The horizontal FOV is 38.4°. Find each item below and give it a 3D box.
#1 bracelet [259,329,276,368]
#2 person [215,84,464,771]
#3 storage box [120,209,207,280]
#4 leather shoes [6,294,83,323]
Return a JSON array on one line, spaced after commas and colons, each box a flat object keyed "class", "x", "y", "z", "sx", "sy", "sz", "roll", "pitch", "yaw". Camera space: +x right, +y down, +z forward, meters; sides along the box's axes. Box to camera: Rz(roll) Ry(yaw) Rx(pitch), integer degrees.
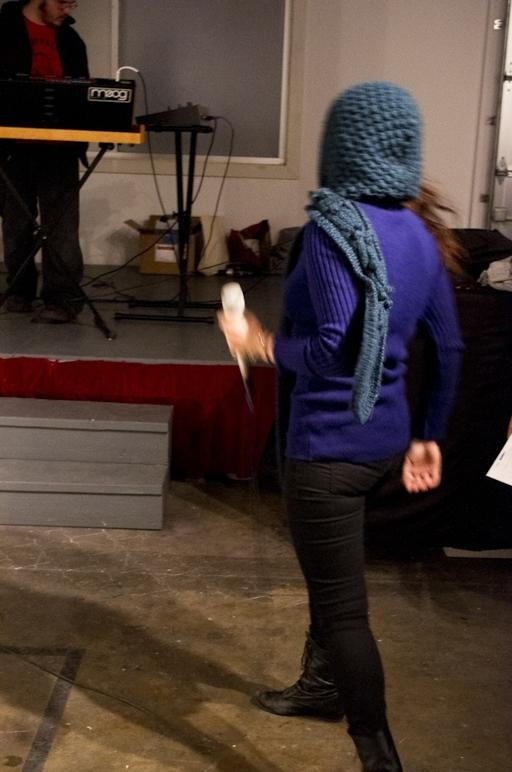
[{"class": "bracelet", "x": 0.022, "y": -0.058, "z": 1.245, "sx": 0.021, "sy": 0.048, "sz": 0.043, "roll": -4, "pitch": 24, "yaw": 9}, {"class": "person", "x": 0.119, "y": 0.069, "z": 1.218, "sx": 0.397, "sy": 1.068, "sz": 0.313, "roll": 6, "pitch": 16, "yaw": 13}, {"class": "storage box", "x": -0.671, "y": -1.008, "z": 5.470, "sx": 0.660, "sy": 0.378, "sz": 0.613, "roll": 0, "pitch": 7, "yaw": -2}, {"class": "leather shoes", "x": -1.056, "y": -0.385, "z": 3.656, "sx": 0.259, "sy": 0.080, "sz": 0.097, "roll": 19, "pitch": 62, "yaw": 2}]
